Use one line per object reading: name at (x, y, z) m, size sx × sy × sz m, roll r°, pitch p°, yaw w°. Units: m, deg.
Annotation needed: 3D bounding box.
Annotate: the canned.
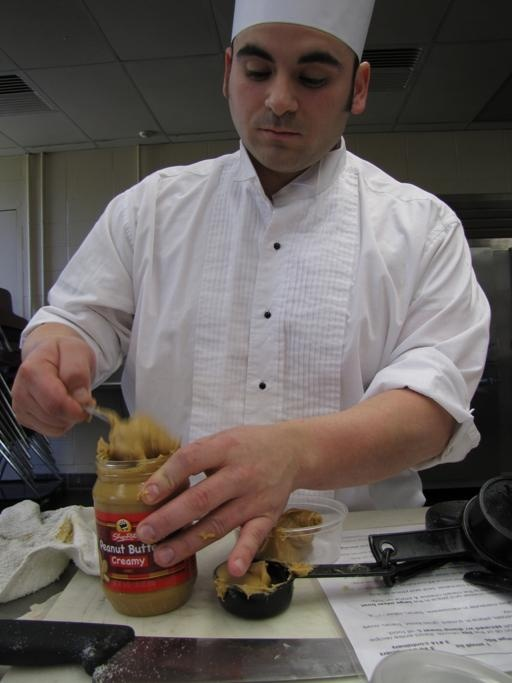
canned at (-0.133, 0.231, 0.697) m, size 0.128 × 0.173 × 0.131 m, roll -10°, pitch -6°, yaw 44°
